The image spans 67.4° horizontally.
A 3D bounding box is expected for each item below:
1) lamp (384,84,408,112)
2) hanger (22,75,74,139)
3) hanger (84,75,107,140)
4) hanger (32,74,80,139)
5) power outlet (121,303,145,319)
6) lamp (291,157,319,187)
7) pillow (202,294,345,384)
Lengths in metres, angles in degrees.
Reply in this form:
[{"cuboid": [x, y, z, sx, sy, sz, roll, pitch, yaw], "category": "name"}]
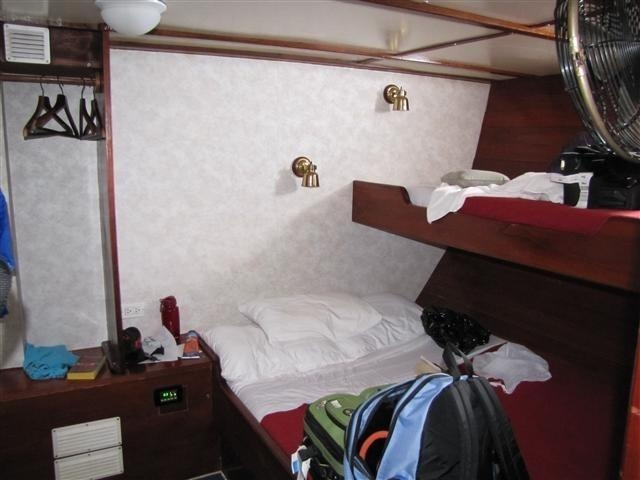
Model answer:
[{"cuboid": [0.567, -1.047, 3.516, 0.190, 0.196, 0.391, 3, 13, 7], "category": "lamp"}, {"cuboid": [-1.491, -0.705, 2.612, 0.259, 0.317, 0.458, -7, 15, -30], "category": "hanger"}, {"cuboid": [-1.191, -0.703, 2.546, 0.026, 0.327, 0.188, -12, 22, -31], "category": "hanger"}, {"cuboid": [-1.413, -0.694, 2.535, 0.151, 0.289, 0.310, -5, 3, 23], "category": "hanger"}, {"cuboid": [-1.187, 0.445, 3.013, 0.145, 0.089, 0.019, -3, 11, -27], "category": "power outlet"}, {"cuboid": [-0.080, -0.477, 3.332, 0.217, 0.214, 0.206, 4, 9, 16], "category": "lamp"}, {"cuboid": [-0.253, 0.613, 2.894, 0.560, 0.119, 0.410, -5, 19, -31], "category": "pillow"}]
